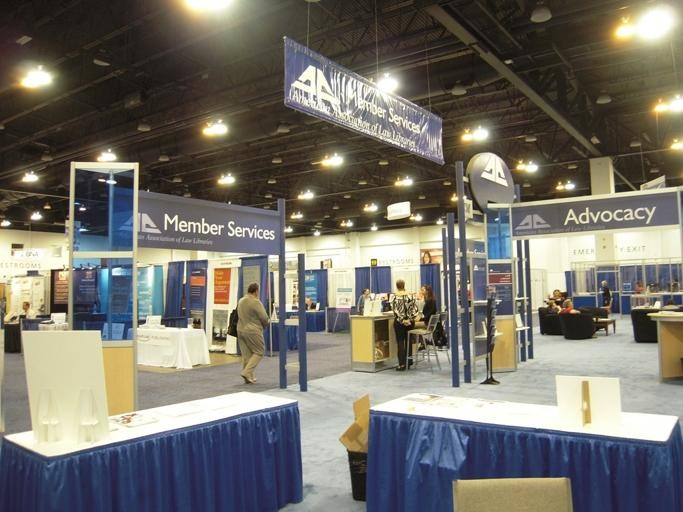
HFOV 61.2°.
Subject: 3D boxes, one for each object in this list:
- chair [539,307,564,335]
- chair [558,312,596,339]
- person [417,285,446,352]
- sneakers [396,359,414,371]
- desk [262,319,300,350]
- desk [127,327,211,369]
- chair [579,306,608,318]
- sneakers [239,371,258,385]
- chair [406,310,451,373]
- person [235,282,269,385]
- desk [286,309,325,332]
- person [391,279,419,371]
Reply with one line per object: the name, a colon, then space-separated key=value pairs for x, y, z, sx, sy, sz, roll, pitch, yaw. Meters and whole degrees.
chair: x=5.450 y=1.706 z=15.022 sx=0.560 sy=0.597 sz=0.556 roll=-2 pitch=-2 yaw=21
chair: x=5.692 y=1.614 z=13.894 sx=0.677 sy=0.615 sz=0.629 roll=-2 pitch=-3 yaw=41
person: x=1.514 y=1.009 z=10.081 sx=0.605 sy=1.085 sz=0.344 roll=4 pitch=17 yaw=6
sneakers: x=1.097 y=1.869 z=9.927 sx=0.129 sy=0.157 sz=0.397 roll=-3 pitch=-14 yaw=15
desk: x=-1.357 y=1.800 z=12.826 sx=0.619 sy=0.570 sz=0.633 roll=1 pitch=0 yaw=5
desk: x=-3.359 y=1.692 z=11.219 sx=1.364 sy=0.564 sz=0.810 roll=-2 pitch=-4 yaw=27
chair: x=6.820 y=1.500 z=15.652 sx=0.593 sy=0.606 sz=0.631 roll=-5 pitch=-8 yaw=32
sneakers: x=-1.434 y=1.885 z=8.980 sx=0.123 sy=0.165 sz=0.382 roll=-1 pitch=-2 yaw=15
chair: x=1.513 y=1.504 z=10.184 sx=0.379 sy=0.760 sz=1.117 roll=0 pitch=-6 yaw=17
person: x=-1.363 y=1.182 z=8.793 sx=0.402 sy=1.523 sz=0.619 roll=0 pitch=-4 yaw=-21
desk: x=-0.859 y=2.035 z=17.834 sx=1.233 sy=0.715 sz=1.275 roll=0 pitch=-5 yaw=0
person: x=1.088 y=1.158 z=9.752 sx=0.410 sy=1.508 sz=0.726 roll=-2 pitch=-4 yaw=6
